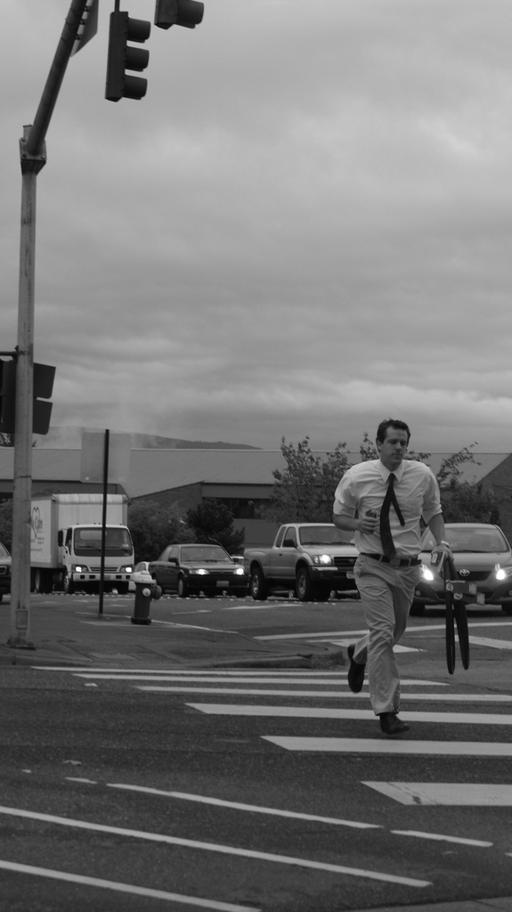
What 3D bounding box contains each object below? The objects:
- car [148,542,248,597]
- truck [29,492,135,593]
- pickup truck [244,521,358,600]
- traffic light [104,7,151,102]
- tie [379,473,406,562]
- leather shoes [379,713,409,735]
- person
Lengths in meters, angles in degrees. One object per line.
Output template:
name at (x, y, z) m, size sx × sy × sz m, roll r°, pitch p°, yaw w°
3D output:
car at (-1.448, 3.251, 30.609) m, size 1.932 × 1.443 × 2.847 m, roll 2°, pitch -3°, yaw -18°
truck at (-5.279, 2.807, 34.240) m, size 2.096 × 3.207 × 4.169 m, roll 3°, pitch -3°, yaw -30°
pickup truck at (1.382, 2.512, 25.887) m, size 1.605 × 1.486 × 3.208 m, roll 3°, pitch -8°, yaw -25°
traffic light at (-1.003, -3.130, 8.614) m, size 0.319 × 0.639 × 0.147 m, roll 4°, pitch 5°, yaw -19°
tie at (0.835, 0.372, 6.703) m, size 0.134 × 0.497 × 0.024 m, roll 0°, pitch -6°, yaw 15°
leather shoes at (0.825, 1.610, 6.568) m, size 0.164 × 0.139 × 0.185 m, roll 1°, pitch -3°, yaw 8°
person at (0.787, 0.736, 6.867) m, size 0.596 × 1.912 × 0.611 m, roll 0°, pitch -3°, yaw 17°
